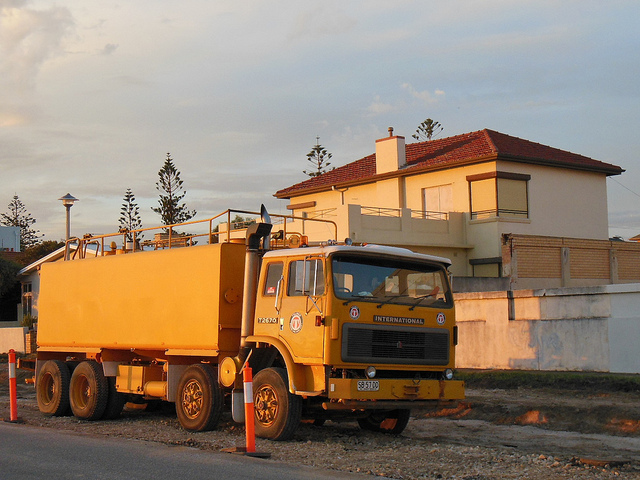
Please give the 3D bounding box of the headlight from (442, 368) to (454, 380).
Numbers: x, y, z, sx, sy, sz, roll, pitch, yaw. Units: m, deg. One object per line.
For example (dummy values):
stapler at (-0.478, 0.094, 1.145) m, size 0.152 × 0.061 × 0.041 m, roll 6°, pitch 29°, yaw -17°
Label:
headlight at (2.600, 2.709, 19.310) m, size 0.252 × 0.259 × 0.097 m, roll 0°, pitch 3°, yaw -24°

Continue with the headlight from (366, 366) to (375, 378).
headlight at (0.994, 2.526, 18.291) m, size 0.174 × 0.185 × 0.180 m, roll -26°, pitch -31°, yaw 16°

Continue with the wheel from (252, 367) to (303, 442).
wheel at (-0.812, 3.204, 18.573) m, size 0.526 × 1.479 × 1.363 m, roll 3°, pitch -6°, yaw -38°

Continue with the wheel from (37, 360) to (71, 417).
wheel at (-6.368, 3.597, 22.870) m, size 0.382 × 1.126 × 1.105 m, roll 5°, pitch 6°, yaw -34°

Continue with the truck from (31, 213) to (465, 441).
truck at (-2.451, 2.016, 22.055) m, size 11.305 × 4.753 × 4.148 m, roll -6°, pitch -11°, yaw 42°

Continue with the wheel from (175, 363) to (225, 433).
wheel at (-2.521, 3.305, 19.837) m, size 1.141 × 1.386 × 0.354 m, roll 0°, pitch 1°, yaw 37°

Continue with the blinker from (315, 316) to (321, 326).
blinker at (-0.030, 1.542, 18.157) m, size 0.134 × 0.183 × 0.039 m, roll 0°, pitch 1°, yaw 40°
